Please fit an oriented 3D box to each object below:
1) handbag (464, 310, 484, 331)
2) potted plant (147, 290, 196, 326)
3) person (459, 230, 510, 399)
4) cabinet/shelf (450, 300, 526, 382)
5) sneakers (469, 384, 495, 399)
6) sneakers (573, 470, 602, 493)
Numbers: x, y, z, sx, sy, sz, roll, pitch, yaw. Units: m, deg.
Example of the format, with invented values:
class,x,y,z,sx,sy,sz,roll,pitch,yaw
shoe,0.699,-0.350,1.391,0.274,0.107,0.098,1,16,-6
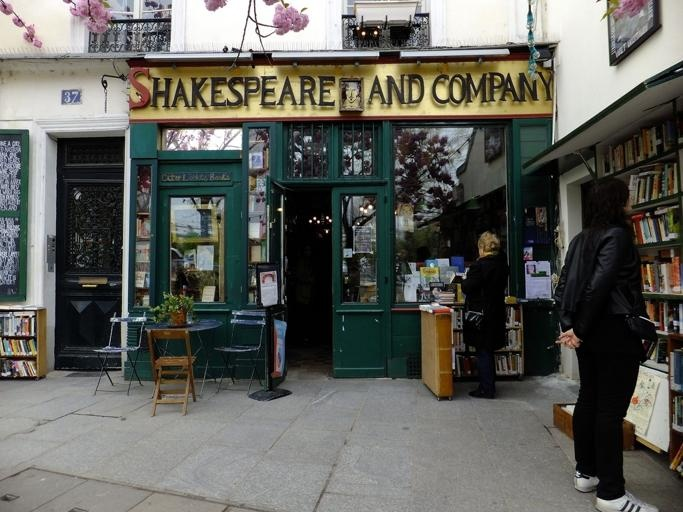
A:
class,x,y,z,sx,sy,sz,roll,pitch,yaw
handbag,1.676,0.802,7.925,0.219,0.229,0.171,14,-15,9
potted plant,-2.214,0.683,8.386,0.479,0.399,0.517,0,-2,2
person,1.866,0.733,8.047,0.585,2.026,0.470,-8,11,-41
cabinet/shelf,1.930,1.109,8.314,0.981,1.071,0.373,0,-8,0
sneakers,1.792,1.715,7.996,0.132,0.168,0.361,0,3,-36
sneakers,2.294,2.072,5.830,0.220,0.157,0.128,-5,5,-27
